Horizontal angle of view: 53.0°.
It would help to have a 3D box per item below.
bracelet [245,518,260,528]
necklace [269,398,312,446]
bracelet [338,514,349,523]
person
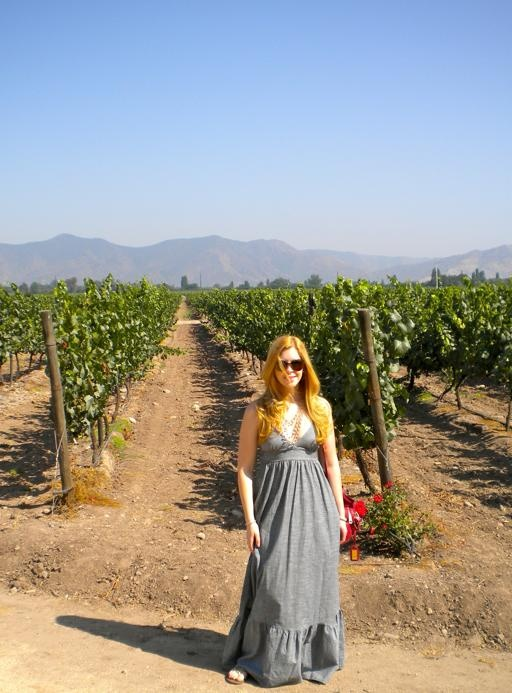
[{"bbox_3d":[-0.017,0.911,2.678,0.065,0.055,0.067,0,4,-17],"label":"bracelet"},{"bbox_3d":[0.206,0.406,2.753,0.175,0.234,0.056,9,-10,-18],"label":"necklace"},{"bbox_3d":[0.502,0.977,2.940,0.048,0.022,0.066,1,-8,0],"label":"bracelet"},{"bbox_3d":[0.184,0.928,2.777,0.689,1.970,0.381,1,5,-6],"label":"person"}]
